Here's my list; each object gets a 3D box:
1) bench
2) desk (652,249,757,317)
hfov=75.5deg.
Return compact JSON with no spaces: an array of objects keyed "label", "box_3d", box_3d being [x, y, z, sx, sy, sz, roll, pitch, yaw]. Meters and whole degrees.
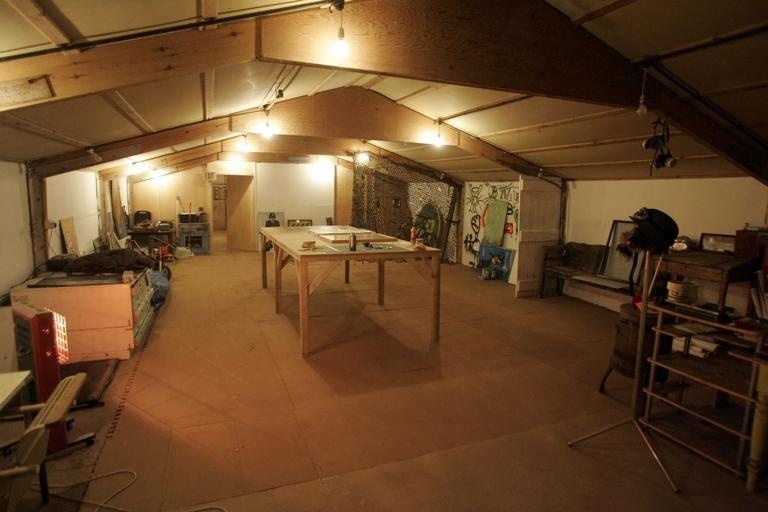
[{"label":"bench","box_3d":[3.539,0.218,8.453,0.424,0.679,1.052,-1,8,-26]},{"label":"desk","box_3d":[3.810,0.176,5.934,0.894,0.751,1.227,4,5,8]}]
